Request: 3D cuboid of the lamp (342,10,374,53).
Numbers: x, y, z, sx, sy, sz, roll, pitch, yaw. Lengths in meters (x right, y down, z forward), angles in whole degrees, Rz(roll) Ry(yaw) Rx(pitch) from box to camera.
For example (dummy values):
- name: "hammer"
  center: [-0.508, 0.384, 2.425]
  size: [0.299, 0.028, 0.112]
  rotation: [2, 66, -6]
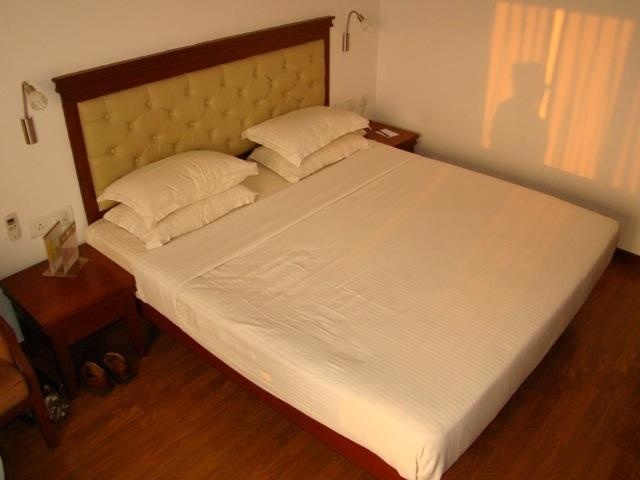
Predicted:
- name: "lamp"
  center: [0.314, -1.836, 4.069]
  size: [0.265, 0.382, 0.123]
  rotation: [21, 54, 20]

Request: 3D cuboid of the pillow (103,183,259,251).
- name: "pillow"
  center: [-0.825, -0.135, 2.965]
  size: [0.436, 0.163, 0.644]
  rotation: [25, 42, 31]

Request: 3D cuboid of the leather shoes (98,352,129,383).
- name: "leather shoes"
  center: [-1.232, 0.742, 2.777]
  size: [0.198, 0.062, 0.113]
  rotation: [33, 53, 27]

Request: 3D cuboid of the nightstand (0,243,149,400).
- name: "nightstand"
  center: [-1.435, 0.297, 2.868]
  size: [0.727, 0.730, 0.748]
  rotation: [27, 43, 30]

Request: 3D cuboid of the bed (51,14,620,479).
- name: "bed"
  center: [0.130, -0.266, 2.820]
  size: [2.641, 1.407, 2.298]
  rotation: [27, 44, 34]

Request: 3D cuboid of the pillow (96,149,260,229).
- name: "pillow"
  center: [-0.952, -0.399, 2.914]
  size: [0.476, 0.237, 0.881]
  rotation: [30, 46, 25]

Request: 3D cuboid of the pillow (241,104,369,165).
- name: "pillow"
  center: [-0.192, -0.850, 3.526]
  size: [0.516, 0.206, 0.771]
  rotation: [29, 46, 29]

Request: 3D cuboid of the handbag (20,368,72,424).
- name: "handbag"
  center: [-1.526, 0.901, 2.609]
  size: [0.316, 0.138, 0.164]
  rotation: [36, 56, 14]

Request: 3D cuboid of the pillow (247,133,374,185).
- name: "pillow"
  center: [-0.004, -0.631, 3.612]
  size: [0.423, 0.129, 0.732]
  rotation: [30, 46, 32]

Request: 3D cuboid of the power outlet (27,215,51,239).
- name: "power outlet"
  center: [-1.689, -0.082, 2.780]
  size: [0.016, 0.091, 0.122]
  rotation: [18, 34, 30]
